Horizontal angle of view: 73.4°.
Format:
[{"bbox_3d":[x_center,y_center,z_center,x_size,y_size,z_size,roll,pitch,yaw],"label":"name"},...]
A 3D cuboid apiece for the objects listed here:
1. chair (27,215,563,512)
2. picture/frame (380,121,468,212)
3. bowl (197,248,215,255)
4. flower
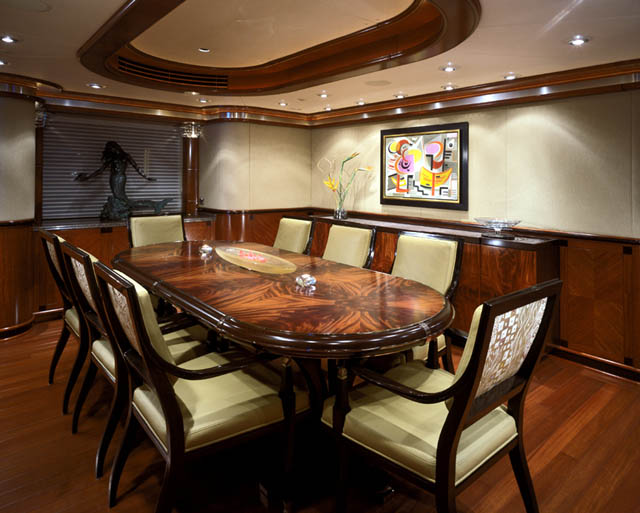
[{"bbox_3d":[0.023,0.516,2.095,1.829,1.027,0.837,11,12,41],"label":"chair"},{"bbox_3d":[1.169,-0.997,4.697,0.079,0.905,1.056,-7,9,-42],"label":"picture/frame"},{"bbox_3d":[-0.900,-0.039,3.362,0.075,0.051,0.075,1,-2,0],"label":"bowl"},{"bbox_3d":[0.348,-1.008,5.687,0.736,0.873,0.820,-5,8,-14],"label":"flower"}]
